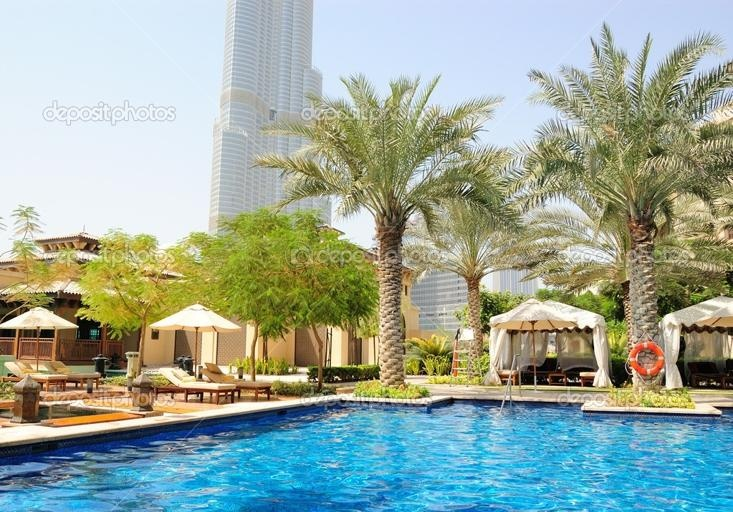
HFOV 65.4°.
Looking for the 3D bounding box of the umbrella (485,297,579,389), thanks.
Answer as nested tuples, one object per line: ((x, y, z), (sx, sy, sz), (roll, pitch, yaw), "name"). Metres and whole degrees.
((7.425, 3.864, 25.888), (3.713, 3.743, 3.919), (-4, -8, 25), "umbrella")

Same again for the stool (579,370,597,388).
((9.936, 5.626, 25.945), (0.864, 0.660, 0.889), (0, -15, 2), "stool")

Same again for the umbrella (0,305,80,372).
((-15.335, 3.971, 26.762), (2.767, 2.142, 2.656), (-3, -13, 9), "umbrella")

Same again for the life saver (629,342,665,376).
((9.443, 3.550, 19.397), (1.014, 1.188, 0.706), (-6, -15, 22), "life saver")
